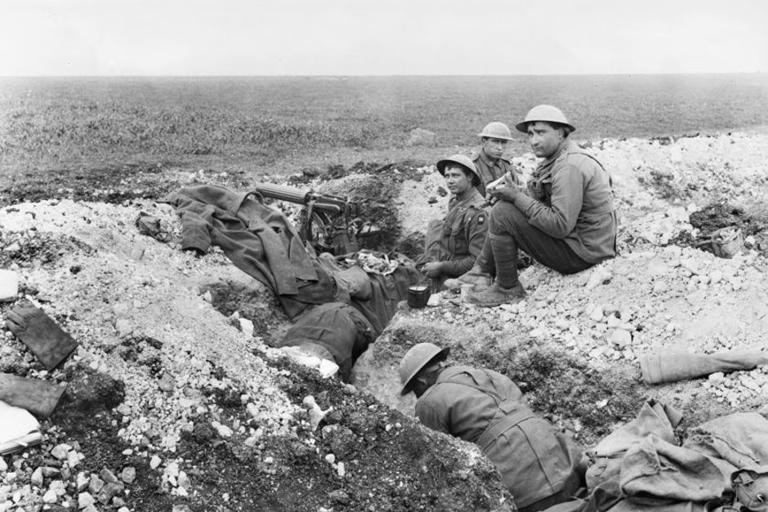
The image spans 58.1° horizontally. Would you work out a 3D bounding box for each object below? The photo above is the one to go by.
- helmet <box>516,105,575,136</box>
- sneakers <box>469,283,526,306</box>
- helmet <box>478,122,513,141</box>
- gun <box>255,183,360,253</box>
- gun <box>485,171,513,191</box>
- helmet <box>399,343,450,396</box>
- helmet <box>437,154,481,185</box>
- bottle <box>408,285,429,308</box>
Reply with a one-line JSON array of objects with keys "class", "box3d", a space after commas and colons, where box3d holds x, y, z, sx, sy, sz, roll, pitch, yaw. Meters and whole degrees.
[{"class": "helmet", "box3d": [1.737, -1.433, 7.370, 0.449, 0.190, 0.470, 1, -4, 21]}, {"class": "sneakers", "box3d": [1.186, 0.406, 7.560, 0.641, 0.297, 0.244, 3, 9, 1]}, {"class": "helmet", "box3d": [1.459, -1.674, 9.311, 0.429, 0.189, 0.419, 11, 10, 20]}, {"class": "gun", "box3d": [-1.071, -0.480, 9.378, 1.583, 0.947, 0.363, 17, 24, 10]}, {"class": "gun", "box3d": [1.190, -0.761, 7.185, 0.240, 0.197, 0.149, 6, 28, 5]}, {"class": "helmet", "box3d": [0.312, 0.921, 6.115, 0.466, 0.396, 0.205, -30, 71, -34]}, {"class": "helmet", "box3d": [0.963, -1.066, 8.391, 0.456, 0.177, 0.451, 34, -17, -35]}, {"class": "bottle", "box3d": [0.362, 0.449, 7.567, 0.224, 0.275, 0.226, 1, 1, -2]}]
